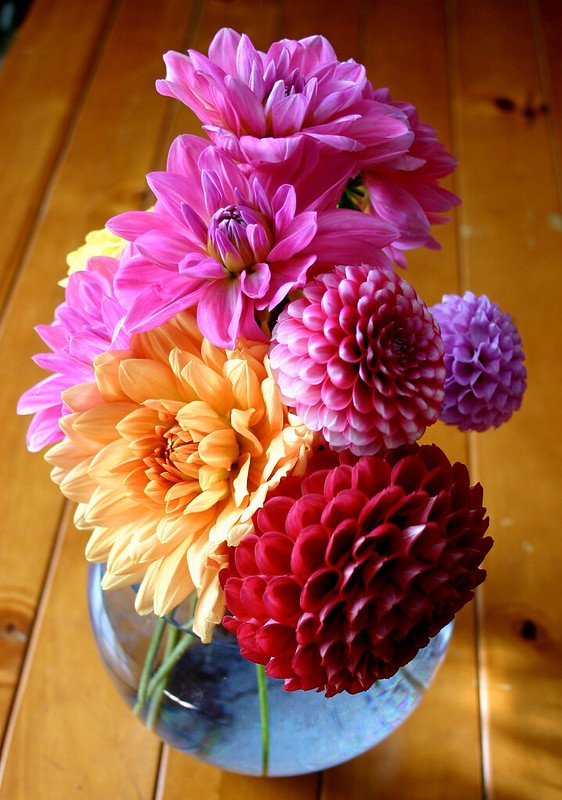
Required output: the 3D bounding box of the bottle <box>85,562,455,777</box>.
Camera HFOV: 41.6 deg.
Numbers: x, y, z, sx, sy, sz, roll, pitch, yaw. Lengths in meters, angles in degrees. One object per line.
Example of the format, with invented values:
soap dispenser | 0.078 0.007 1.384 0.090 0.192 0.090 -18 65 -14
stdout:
bottle | -0.019 0.171 0.465 0.175 0.120 0.156 -2 77 10
